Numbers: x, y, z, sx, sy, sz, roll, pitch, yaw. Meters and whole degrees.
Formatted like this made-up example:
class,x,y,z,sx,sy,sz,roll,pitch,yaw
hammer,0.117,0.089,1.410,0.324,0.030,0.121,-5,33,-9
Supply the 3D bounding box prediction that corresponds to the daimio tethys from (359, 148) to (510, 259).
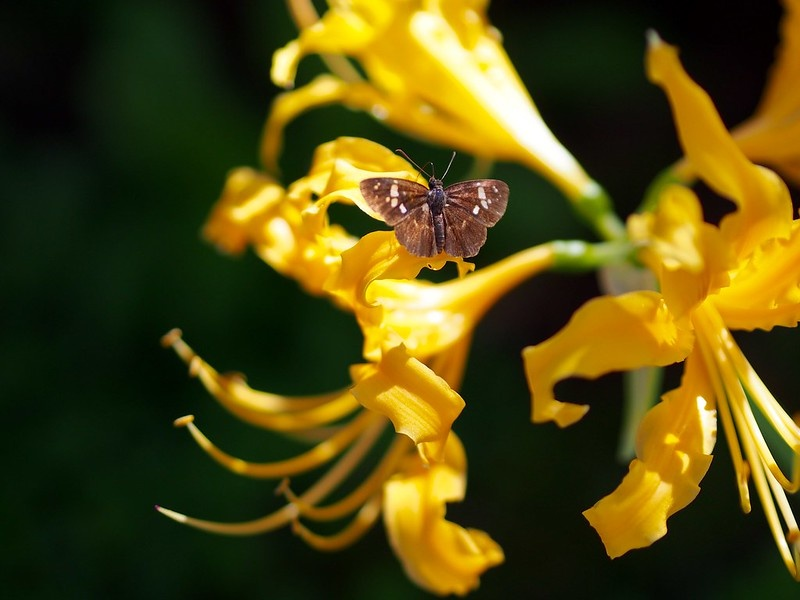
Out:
class,x,y,z,sx,sy,sz,roll,pitch,yaw
daimio tethys,0.070,-0.199,2.121,0.351,0.220,0.104,-13,10,-18
